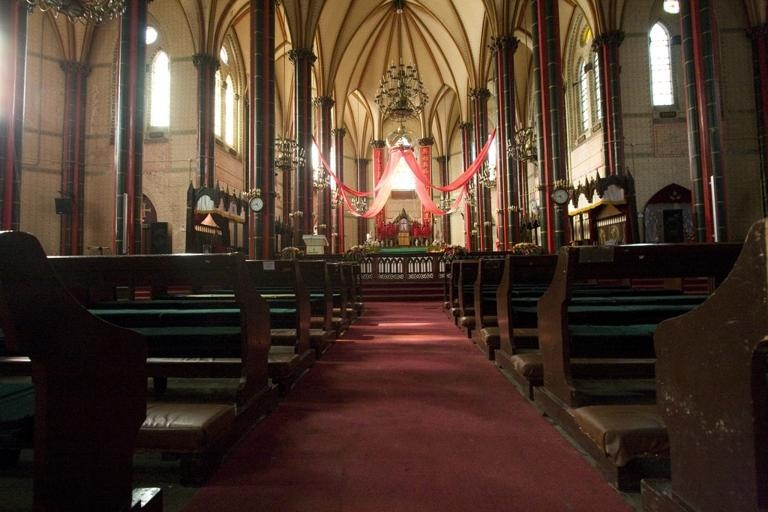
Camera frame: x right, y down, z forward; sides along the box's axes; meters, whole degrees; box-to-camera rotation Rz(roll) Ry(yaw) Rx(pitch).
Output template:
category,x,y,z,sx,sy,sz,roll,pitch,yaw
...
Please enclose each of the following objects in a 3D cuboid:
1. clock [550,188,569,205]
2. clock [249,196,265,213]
category,x,y,z,sx,sy,sz,roll,pitch,yaw
clock,3.894,-1.310,14.721,0.375,0.404,0.181,-2,13,8
clock,-3.023,-1.225,15.747,0.286,0.288,0.092,-42,7,-4
